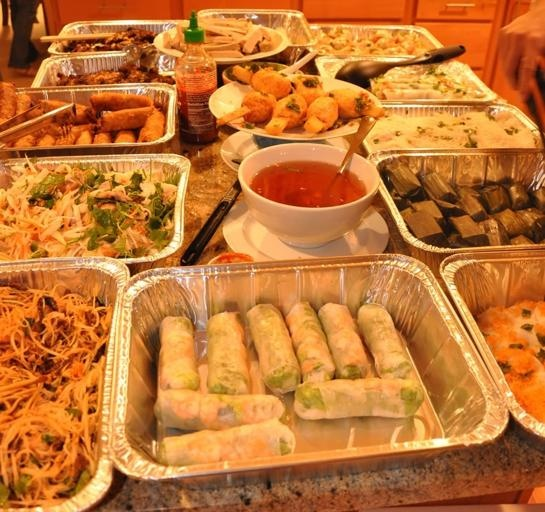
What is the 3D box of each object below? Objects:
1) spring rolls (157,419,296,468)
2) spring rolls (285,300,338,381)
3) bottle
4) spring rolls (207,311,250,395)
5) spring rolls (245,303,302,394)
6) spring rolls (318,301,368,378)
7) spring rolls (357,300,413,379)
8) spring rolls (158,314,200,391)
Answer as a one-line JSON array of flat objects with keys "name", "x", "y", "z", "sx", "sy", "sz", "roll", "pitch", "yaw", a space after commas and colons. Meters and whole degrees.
[{"name": "spring rolls", "x": -0.090, "y": 0.375, "z": 0.911, "sx": 0.282, "sy": 0.069, "sz": 0.075, "roll": -2, "pitch": 43, "yaw": -6}, {"name": "spring rolls", "x": 0.096, "y": 0.198, "z": 1.121, "sx": 0.070, "sy": 0.061, "sz": 0.206, "roll": -7, "pitch": 32, "yaw": -2}, {"name": "bottle", "x": -0.277, "y": -0.639, "z": 1.779, "sx": 0.181, "sy": 0.566, "sz": 0.181, "roll": 1, "pitch": 37, "yaw": -1}, {"name": "spring rolls", "x": -0.112, "y": 0.233, "z": 1.093, "sx": 0.098, "sy": 0.052, "sz": 0.239, "roll": -4, "pitch": 41, "yaw": -7}, {"name": "spring rolls", "x": -0.001, "y": 0.216, "z": 1.137, "sx": 0.107, "sy": 0.076, "sz": 0.255, "roll": 0, "pitch": 31, "yaw": -13}, {"name": "spring rolls", "x": 0.171, "y": 0.203, "z": 1.112, "sx": 0.078, "sy": 0.059, "sz": 0.200, "roll": -5, "pitch": 40, "yaw": -4}, {"name": "spring rolls", "x": 0.269, "y": 0.201, "z": 1.113, "sx": 0.087, "sy": 0.062, "sz": 0.187, "roll": -8, "pitch": 38, "yaw": -4}, {"name": "spring rolls", "x": -0.232, "y": 0.237, "z": 1.083, "sx": 0.096, "sy": 0.064, "sz": 0.231, "roll": -7, "pitch": 41, "yaw": -11}]
